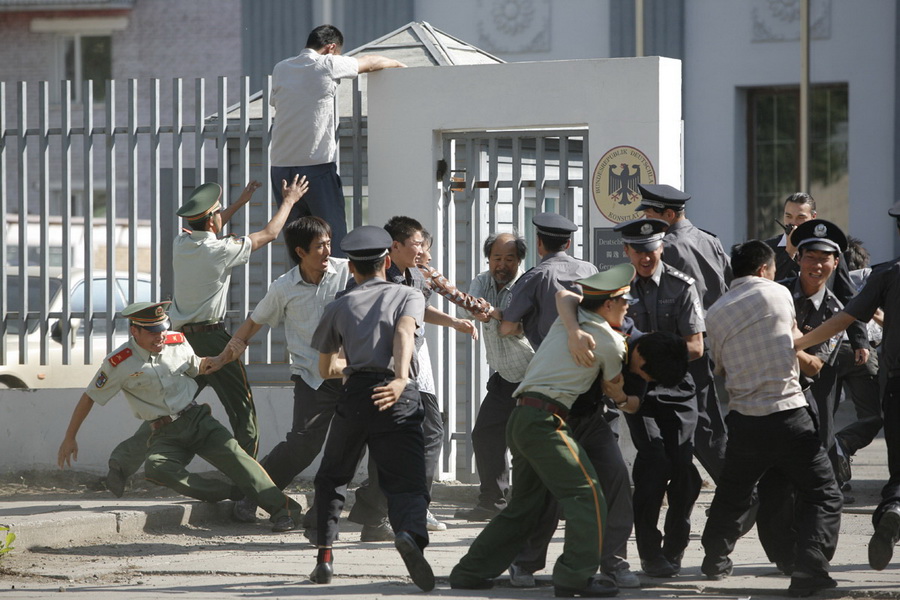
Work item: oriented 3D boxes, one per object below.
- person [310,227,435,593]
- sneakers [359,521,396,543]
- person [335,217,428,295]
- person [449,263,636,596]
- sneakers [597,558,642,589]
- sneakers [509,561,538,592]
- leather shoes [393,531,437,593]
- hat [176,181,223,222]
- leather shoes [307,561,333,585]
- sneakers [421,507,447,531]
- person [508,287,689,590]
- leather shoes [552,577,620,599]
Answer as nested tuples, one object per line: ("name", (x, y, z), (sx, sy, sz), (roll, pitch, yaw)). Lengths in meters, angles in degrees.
("person", (-0.730, 0.980, 19.794), (1.142, 3.389, 0.714), (0, 1, 0))
("sneakers", (-0.725, 2.298, 20.954), (0.299, 0.172, 0.176), (-1, -2, 3))
("person", (-0.506, -0.501, 21.014), (0.512, 0.757, 0.577), (11, -7, -15))
("person", (0.950, 1.192, 19.601), (1.416, 3.052, 0.454), (0, 1, 17))
("sneakers", (1.596, 2.552, 19.654), (0.427, 0.174, 0.185), (5, 4, 36))
("sneakers", (0.685, 2.574, 19.740), (0.139, 0.121, 0.317), (0, 6, -29))
("leather shoes", (-0.301, 2.392, 19.588), (0.232, 0.667, 0.287), (-34, -2, 11))
("hat", (-2.524, -1.032, 21.369), (0.405, 0.142, 0.342), (-33, 49, -14))
("leather shoes", (-1.204, 2.539, 19.792), (0.220, 0.196, 0.142), (0, 1, -9))
("sneakers", (-0.145, 2.223, 21.297), (0.141, 0.156, 0.409), (-2, -3, 18))
("person", (1.492, 1.251, 19.984), (1.010, 3.033, 0.943), (2, 16, 17))
("leather shoes", (1.241, 2.632, 19.503), (0.620, 0.230, 0.221), (-4, 2, -7))
